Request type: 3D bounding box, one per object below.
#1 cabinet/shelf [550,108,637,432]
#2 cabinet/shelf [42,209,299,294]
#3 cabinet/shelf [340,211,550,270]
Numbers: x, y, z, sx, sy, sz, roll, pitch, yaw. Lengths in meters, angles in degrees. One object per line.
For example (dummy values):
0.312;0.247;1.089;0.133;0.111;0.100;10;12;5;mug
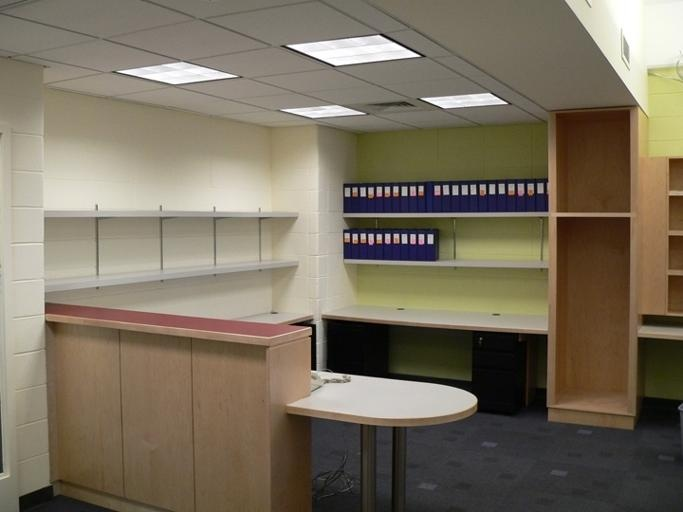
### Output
2.537;0.104;5.690;0.880;3.088;0.741;3;6;26;cabinet/shelf
-1.607;-0.112;5.612;0.486;0.771;2.915;4;8;35;cabinet/shelf
1.158;-0.182;6.819;2.492;0.614;0.454;1;-5;21;cabinet/shelf
